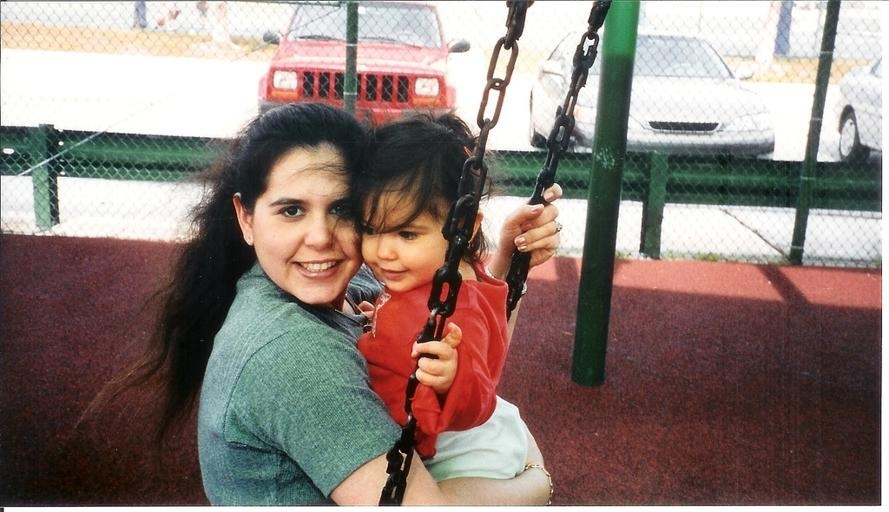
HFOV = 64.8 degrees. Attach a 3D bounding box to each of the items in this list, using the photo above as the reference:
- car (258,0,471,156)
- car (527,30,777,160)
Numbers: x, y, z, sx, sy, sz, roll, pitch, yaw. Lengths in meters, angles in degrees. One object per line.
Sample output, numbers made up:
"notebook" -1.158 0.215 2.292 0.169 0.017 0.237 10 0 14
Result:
"car" -0.770 -1.684 7.096 1.572 1.145 2.391 1 26 -2
"car" 2.361 -1.556 7.420 1.558 0.993 2.369 1 12 -1
